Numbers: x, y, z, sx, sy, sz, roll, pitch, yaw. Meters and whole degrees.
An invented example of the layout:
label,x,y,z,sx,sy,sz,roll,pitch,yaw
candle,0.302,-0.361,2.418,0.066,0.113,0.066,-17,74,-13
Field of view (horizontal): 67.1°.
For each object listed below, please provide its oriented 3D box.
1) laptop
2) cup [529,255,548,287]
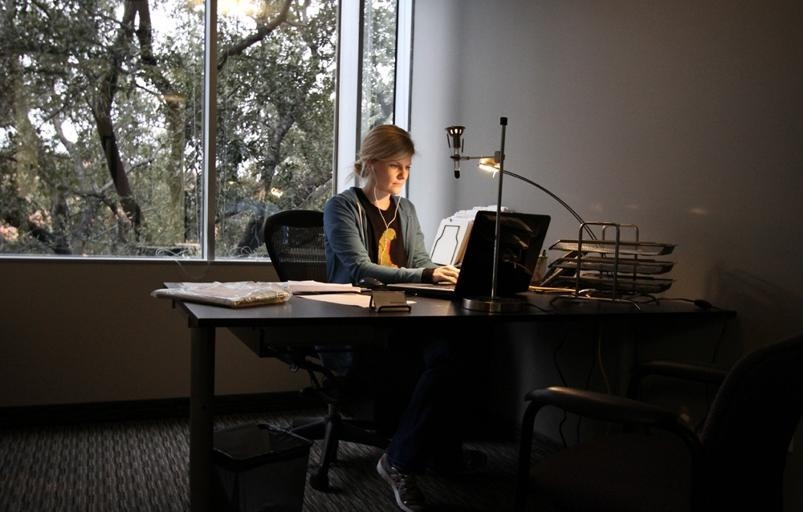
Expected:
label,x,y,z,sx,sy,sz,roll,pitch,yaw
laptop,0.385,-0.003,2.689,0.435,0.301,0.482,0,-1,37
cup,0.739,0.071,3.241,0.151,0.159,0.146,3,10,0
